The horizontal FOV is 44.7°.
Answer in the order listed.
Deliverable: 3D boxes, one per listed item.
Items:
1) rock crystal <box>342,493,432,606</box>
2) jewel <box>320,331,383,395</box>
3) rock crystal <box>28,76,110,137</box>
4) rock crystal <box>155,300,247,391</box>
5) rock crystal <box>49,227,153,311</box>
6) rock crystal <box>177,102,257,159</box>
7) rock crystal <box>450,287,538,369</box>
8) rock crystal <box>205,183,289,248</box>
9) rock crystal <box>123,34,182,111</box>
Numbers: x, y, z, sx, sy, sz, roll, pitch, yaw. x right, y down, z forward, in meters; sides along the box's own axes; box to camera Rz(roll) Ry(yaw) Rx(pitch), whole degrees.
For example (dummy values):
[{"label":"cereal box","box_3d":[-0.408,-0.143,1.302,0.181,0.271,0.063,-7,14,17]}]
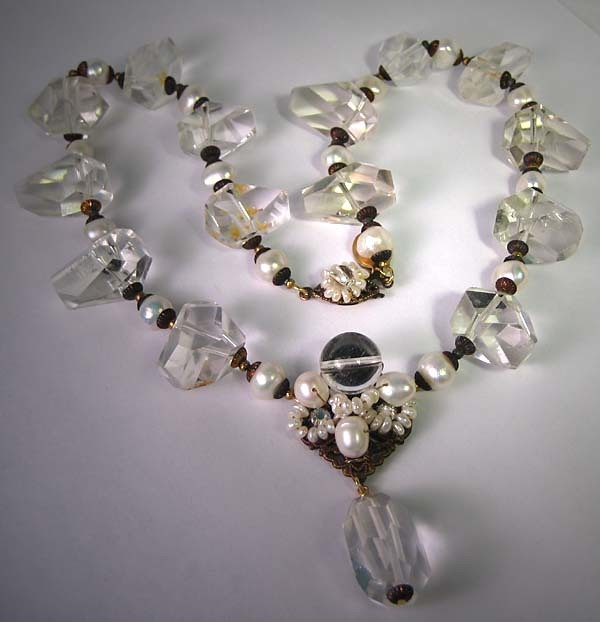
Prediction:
[{"label":"rock crystal","box_3d":[0.142,0.401,1.224,0.143,0.059,0.170,-16,54,-3]},{"label":"jewel","box_3d":[0.084,0.096,1.316,0.129,0.104,0.064,2,-9,6]},{"label":"rock crystal","box_3d":[-0.545,-0.490,1.753,0.191,0.047,0.151,30,75,9]},{"label":"rock crystal","box_3d":[-0.200,0.071,1.464,0.156,0.100,0.165,16,70,-1]},{"label":"rock crystal","box_3d":[-0.405,-0.087,1.512,0.188,0.141,0.068,-26,2,-24]},{"label":"rock crystal","box_3d":[-0.193,-0.426,1.692,0.151,0.130,0.058,-3,-11,-6]},{"label":"rock crystal","box_3d":[0.385,0.032,1.452,0.167,0.105,0.119,17,31,16]},{"label":"rock crystal","box_3d":[-0.112,-0.217,1.576,0.225,0.078,0.124,-10,71,-12]},{"label":"rock crystal","box_3d":[-0.363,-0.580,1.781,0.182,0.140,0.071,-24,8,1]}]
